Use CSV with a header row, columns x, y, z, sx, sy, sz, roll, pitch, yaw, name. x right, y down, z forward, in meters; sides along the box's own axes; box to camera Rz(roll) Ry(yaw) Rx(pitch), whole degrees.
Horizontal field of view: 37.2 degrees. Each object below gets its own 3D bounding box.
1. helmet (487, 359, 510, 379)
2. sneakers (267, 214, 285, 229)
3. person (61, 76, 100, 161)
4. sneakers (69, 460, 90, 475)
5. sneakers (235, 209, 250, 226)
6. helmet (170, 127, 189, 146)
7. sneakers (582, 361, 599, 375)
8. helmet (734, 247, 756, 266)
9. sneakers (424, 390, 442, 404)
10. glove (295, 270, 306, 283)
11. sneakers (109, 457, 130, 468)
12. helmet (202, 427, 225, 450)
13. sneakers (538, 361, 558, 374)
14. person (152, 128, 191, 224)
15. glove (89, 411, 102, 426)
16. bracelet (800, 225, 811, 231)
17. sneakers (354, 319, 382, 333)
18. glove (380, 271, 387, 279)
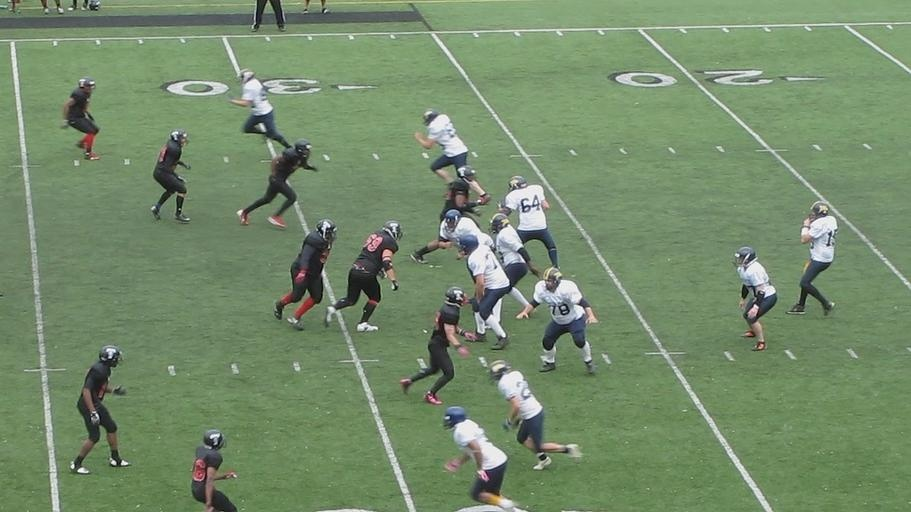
x,y,z,sx,sy,sz,roll,pitch,yaw,name
0.807,2.152,25.446,0.325,0.338,0.350,3,33,-2,helmet
-4.241,-0.797,31.938,0.555,0.199,0.195,22,77,20,sneakers
-9.529,-3.445,34.070,0.835,2.084,1.105,-5,39,-12,person
-7.041,3.981,25.351,0.542,0.134,0.157,10,11,-2,sneakers
-5.113,-0.936,32.040,0.300,0.217,0.435,4,19,-12,sneakers
-6.558,-2.740,31.721,0.358,0.399,0.403,2,33,-4,helmet
2.709,2.260,27.518,0.368,0.106,0.374,0,21,-14,sneakers
6.024,0.041,28.154,0.385,0.380,0.349,7,34,4,helmet
-0.512,2.817,26.899,0.467,0.177,0.172,6,28,4,sneakers
-3.286,0.433,28.241,0.113,0.288,0.205,23,27,-53,glove
-6.386,3.892,25.406,0.443,0.111,0.150,1,13,-3,sneakers
-4.473,3.288,24.392,0.543,0.263,0.403,-5,22,-23,helmet
1.857,2.273,27.615,0.503,0.189,0.133,0,16,1,sneakers
-6.807,-1.871,31.854,0.917,2.164,1.379,-3,37,-10,person
-6.759,3.003,25.106,0.269,0.199,0.099,3,-2,0,glove
7.554,-0.589,29.245,0.197,0.103,0.145,-3,-12,4,bracelet
-1.937,1.512,28.616,0.655,0.181,0.165,-2,31,-9,sneakers
-1.577,0.410,28.556,0.168,0.130,0.068,-3,13,-4,glove
